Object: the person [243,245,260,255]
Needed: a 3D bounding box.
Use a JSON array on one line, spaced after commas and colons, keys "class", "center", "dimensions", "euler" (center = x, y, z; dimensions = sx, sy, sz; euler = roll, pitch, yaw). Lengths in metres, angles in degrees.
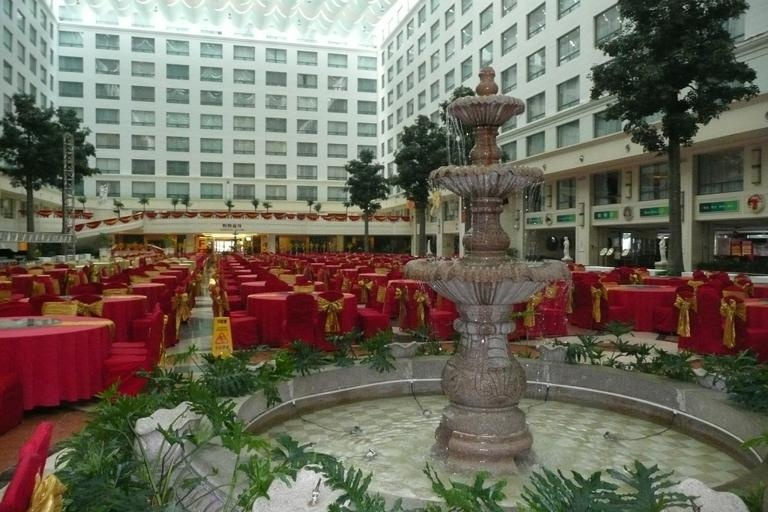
[{"class": "person", "center": [-12.308, -0.517, 47.533], "dimensions": [1.408, 0.646, 0.610], "euler": [5, -25, -43]}]
